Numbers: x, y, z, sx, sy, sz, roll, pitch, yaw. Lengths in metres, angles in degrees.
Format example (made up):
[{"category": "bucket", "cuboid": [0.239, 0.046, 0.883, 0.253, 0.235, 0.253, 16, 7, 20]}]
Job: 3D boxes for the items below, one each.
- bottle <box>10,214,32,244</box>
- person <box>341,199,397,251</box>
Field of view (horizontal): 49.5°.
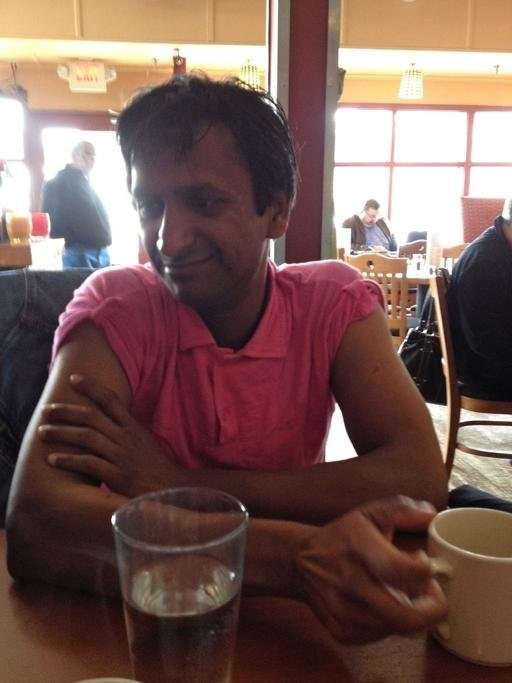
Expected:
[{"category": "bottle", "cuboid": [-1.223, -0.585, 2.861, 0.100, 0.206, 0.108, 13, 34, -9]}, {"category": "person", "cuboid": [1.522, -1.405, 7.416, 0.581, 1.010, 0.480, 5, -12, -27]}]
